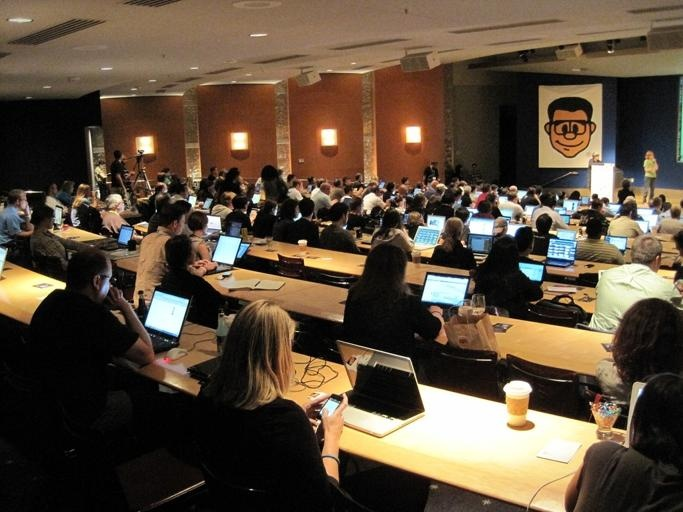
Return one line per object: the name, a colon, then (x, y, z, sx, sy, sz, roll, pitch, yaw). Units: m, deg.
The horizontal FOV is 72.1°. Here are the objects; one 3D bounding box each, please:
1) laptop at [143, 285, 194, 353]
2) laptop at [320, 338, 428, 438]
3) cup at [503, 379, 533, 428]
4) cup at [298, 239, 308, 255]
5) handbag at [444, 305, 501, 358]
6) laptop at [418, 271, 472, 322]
laptop: (-1.343, 0.458, 3.746, 0.495, 0.430, 0.307, 16, 14, 32)
laptop: (0.134, 0.686, 2.490, 0.427, 0.327, 0.503, -7, 8, -44)
cup: (0.931, 0.789, 2.468, 0.146, 0.179, 0.145, 4, -12, 1)
cup: (-0.585, -0.124, 7.154, 0.191, 0.222, 0.192, 0, 4, 0)
handbag: (0.926, 0.521, 3.302, 0.333, 0.327, 0.225, -11, 19, 31)
laptop: (1.011, 0.340, 4.614, 0.491, 0.348, 0.427, 7, 9, 30)
